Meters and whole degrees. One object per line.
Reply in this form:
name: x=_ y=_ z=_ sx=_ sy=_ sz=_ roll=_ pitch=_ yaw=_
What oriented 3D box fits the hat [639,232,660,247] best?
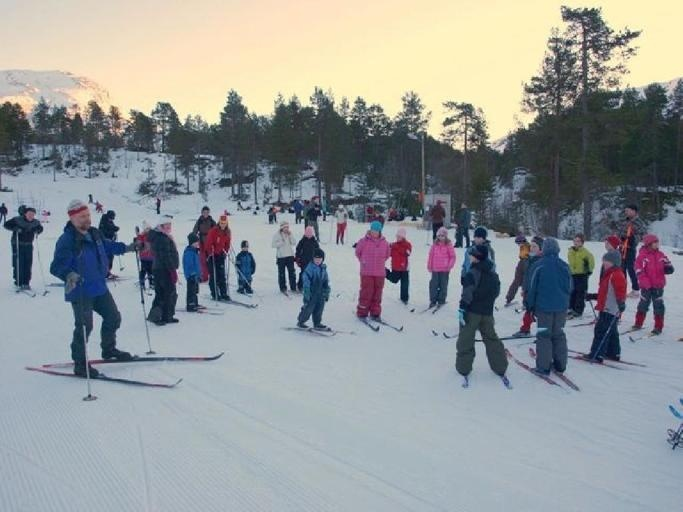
hat: x=6.703 y=-0.356 z=14.752 sx=0.384 sy=0.363 sz=0.301 roll=-3 pitch=3 yaw=24

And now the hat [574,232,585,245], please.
hat: x=5.565 y=-0.404 z=15.907 sx=0.235 sy=0.358 sz=0.320 roll=1 pitch=4 yaw=32

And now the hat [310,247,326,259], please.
hat: x=-0.502 y=-0.096 z=15.044 sx=0.232 sy=0.314 sz=0.350 roll=5 pitch=-8 yaw=-3

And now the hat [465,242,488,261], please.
hat: x=2.579 y=-0.098 z=12.927 sx=0.254 sy=0.301 sz=0.362 roll=2 pitch=24 yaw=-19

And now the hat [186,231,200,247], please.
hat: x=-3.632 y=-0.450 z=16.785 sx=0.320 sy=0.519 sz=0.290 roll=-2 pitch=-7 yaw=-1

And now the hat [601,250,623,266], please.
hat: x=5.434 y=0.031 z=13.594 sx=0.248 sy=0.320 sz=0.344 roll=-4 pitch=36 yaw=-43

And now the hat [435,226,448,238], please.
hat: x=2.483 y=-0.603 z=16.971 sx=0.251 sy=0.348 sz=0.364 roll=3 pitch=-1 yaw=27

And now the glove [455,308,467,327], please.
glove: x=2.257 y=1.173 z=12.900 sx=0.145 sy=0.336 sz=0.224 roll=7 pitch=0 yaw=19

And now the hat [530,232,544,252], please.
hat: x=4.316 y=-0.288 z=14.730 sx=0.351 sy=0.438 sz=0.285 roll=4 pitch=-4 yaw=-32

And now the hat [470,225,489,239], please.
hat: x=2.854 y=-0.482 z=14.081 sx=0.260 sy=0.322 sz=0.359 roll=8 pitch=-1 yaw=44

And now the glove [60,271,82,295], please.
glove: x=-4.782 y=0.467 z=12.050 sx=0.121 sy=0.387 sz=0.269 roll=18 pitch=-30 yaw=-33

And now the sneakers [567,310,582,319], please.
sneakers: x=5.468 y=1.402 z=15.967 sx=0.141 sy=0.178 sz=0.357 roll=-2 pitch=-5 yaw=-18

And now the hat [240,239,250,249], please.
hat: x=-2.557 y=-0.314 z=18.252 sx=0.198 sy=0.286 sz=0.292 roll=1 pitch=-5 yaw=-24

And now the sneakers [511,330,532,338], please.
sneakers: x=3.905 y=1.716 z=14.705 sx=0.436 sy=0.152 sz=0.181 roll=3 pitch=4 yaw=-4
